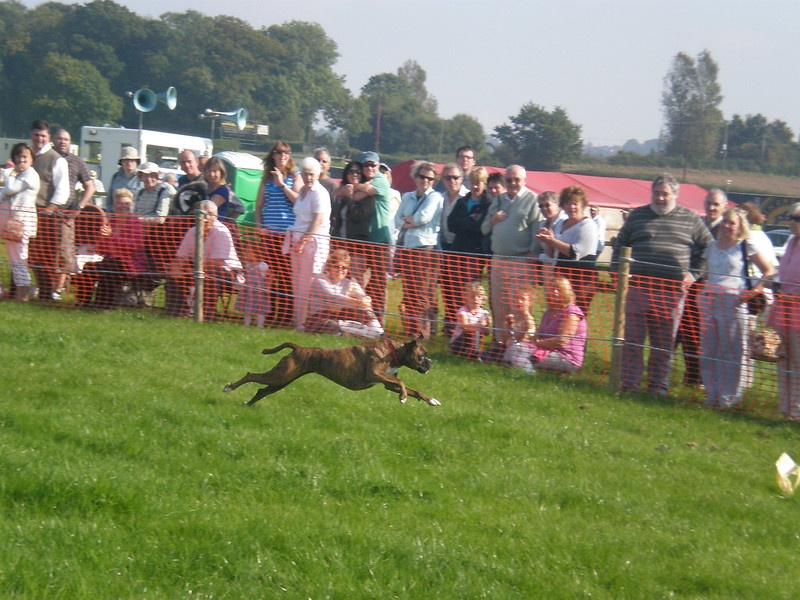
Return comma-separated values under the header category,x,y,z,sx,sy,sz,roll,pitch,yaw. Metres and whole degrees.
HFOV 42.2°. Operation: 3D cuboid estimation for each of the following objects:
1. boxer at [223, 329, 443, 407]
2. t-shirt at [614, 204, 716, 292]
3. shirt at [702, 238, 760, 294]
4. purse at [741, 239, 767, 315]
category,x,y,z,sx,sy,sz,roll,pitch,yaw
boxer,-0.809,0.602,9.322,2.565,0.622,0.620,0,-7,9
t-shirt,2.878,-0.605,11.266,1.167,0.622,0.505,4,21,16
shirt,3.475,-0.394,10.988,0.606,0.414,0.301,6,17,39
purse,3.686,-0.204,10.815,0.226,0.593,0.422,-3,-2,23
